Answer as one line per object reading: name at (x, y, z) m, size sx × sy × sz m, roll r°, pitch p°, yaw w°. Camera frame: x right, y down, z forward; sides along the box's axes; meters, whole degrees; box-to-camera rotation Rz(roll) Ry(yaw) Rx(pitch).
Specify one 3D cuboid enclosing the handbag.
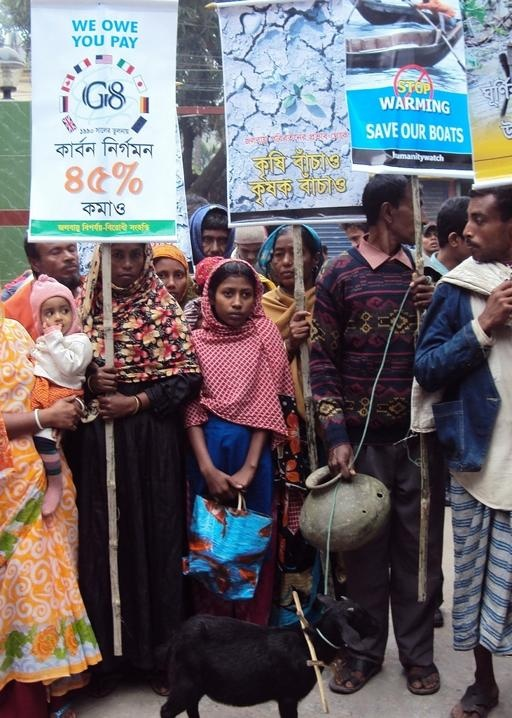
handbag at (-0.113, 0.832, 2.965) m, size 0.336 × 0.418 × 0.201 m, roll -3°, pitch 12°, yaw 12°
